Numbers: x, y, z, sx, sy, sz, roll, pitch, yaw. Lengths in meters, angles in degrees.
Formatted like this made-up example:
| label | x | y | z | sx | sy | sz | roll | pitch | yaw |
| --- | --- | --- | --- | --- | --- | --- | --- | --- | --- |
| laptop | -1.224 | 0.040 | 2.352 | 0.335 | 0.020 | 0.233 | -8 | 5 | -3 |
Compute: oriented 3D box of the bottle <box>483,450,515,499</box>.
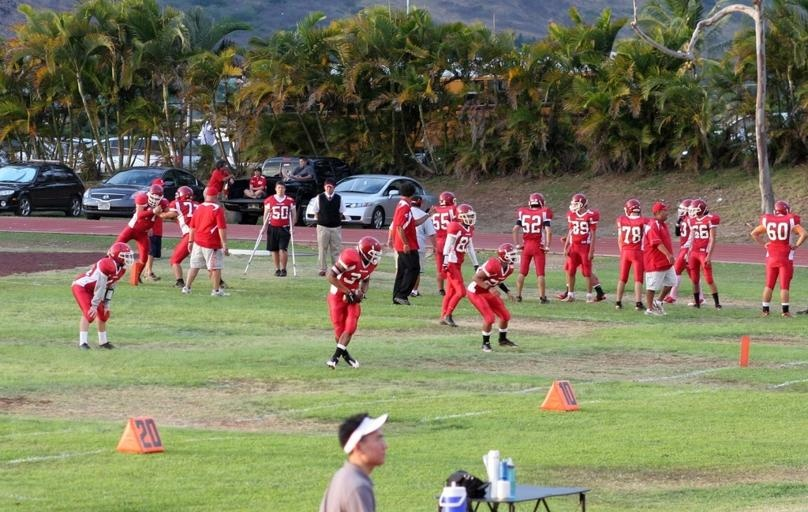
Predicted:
| label | x | y | z | sx | sy | sz | roll | pitch | yaw |
| --- | --- | --- | --- | --- | --- | --- | --- | --- | --- |
| bottle | 1.768 | 3.954 | 27.563 | 0.548 | 0.856 | 0.321 | -1 | 0 | 3 |

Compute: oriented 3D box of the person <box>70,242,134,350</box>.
| label | x | y | z | sx | sy | sz | roll | pitch | yaw |
| --- | --- | --- | --- | --- | --- | --- | --- | --- | --- |
| person | -6.778 | 0.942 | 34.765 | 1.748 | 2.232 | 0.904 | -2 | -9 | 2 |

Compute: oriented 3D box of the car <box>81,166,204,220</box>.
| label | x | y | z | sx | sy | sz | roll | pitch | yaw |
| --- | --- | --- | --- | --- | --- | --- | --- | --- | --- |
| car | -9.756 | -2.298 | 55.576 | 2.673 | 1.743 | 5.584 | 1 | 3 | 16 |

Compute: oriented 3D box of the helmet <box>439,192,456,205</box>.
| label | x | y | z | sx | sy | sz | roll | pitch | yaw |
| --- | --- | --- | --- | --- | --- | --- | --- | --- | --- |
| helmet | 1.280 | -1.501 | 40.172 | 0.481 | 0.351 | 0.364 | -4 | 8 | -21 |

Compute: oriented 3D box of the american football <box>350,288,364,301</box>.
| label | x | y | z | sx | sy | sz | roll | pitch | yaw |
| --- | --- | --- | --- | --- | --- | --- | --- | --- | --- |
| american football | -1.019 | 0.873 | 33.751 | 0.217 | 0.226 | 0.250 | 9 | 12 | 15 |

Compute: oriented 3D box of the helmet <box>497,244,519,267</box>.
| label | x | y | z | sx | sy | sz | roll | pitch | yaw |
| --- | --- | --- | --- | --- | --- | --- | --- | --- | --- |
| helmet | 2.467 | -0.051 | 35.460 | 0.589 | 0.367 | 0.400 | 6 | 12 | 3 |

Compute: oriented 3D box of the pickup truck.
| label | x | y | z | sx | sy | sz | roll | pitch | yaw |
| --- | --- | --- | --- | --- | --- | --- | --- | --- | --- |
| pickup truck | -4.040 | -2.492 | 55.493 | 2.317 | 1.401 | 4.413 | 4 | 10 | 24 |

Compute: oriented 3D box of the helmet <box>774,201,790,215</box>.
| label | x | y | z | sx | sy | sz | roll | pitch | yaw |
| --- | --- | --- | --- | --- | --- | --- | --- | --- | --- |
| helmet | 9.907 | -1.255 | 40.086 | 0.458 | 0.320 | 0.344 | -20 | 20 | -41 |

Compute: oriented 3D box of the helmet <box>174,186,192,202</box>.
| label | x | y | z | sx | sy | sz | roll | pitch | yaw |
| --- | --- | --- | --- | --- | --- | --- | --- | --- | --- |
| helmet | -5.971 | -1.668 | 41.559 | 0.607 | 0.396 | 0.430 | 8 | 3 | 13 |

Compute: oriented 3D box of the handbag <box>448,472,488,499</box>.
| label | x | y | z | sx | sy | sz | roll | pitch | yaw |
| --- | --- | --- | --- | --- | --- | --- | --- | --- | --- |
| handbag | 1.227 | 4.120 | 27.421 | 0.690 | 0.216 | 0.509 | 18 | 3 | 16 |

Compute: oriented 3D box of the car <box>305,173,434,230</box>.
| label | x | y | z | sx | sy | sz | roll | pitch | yaw |
| --- | --- | --- | --- | --- | --- | --- | --- | --- | --- |
| car | -0.987 | -2.035 | 55.684 | 2.806 | 1.551 | 5.503 | 10 | 8 | 29 |

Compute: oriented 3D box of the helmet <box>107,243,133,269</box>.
| label | x | y | z | sx | sy | sz | roll | pitch | yaw |
| --- | --- | --- | --- | --- | --- | --- | --- | --- | --- |
| helmet | -6.406 | -0.038 | 35.036 | 0.732 | 0.491 | 0.477 | 0 | 10 | -11 |

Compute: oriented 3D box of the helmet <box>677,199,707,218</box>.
| label | x | y | z | sx | sy | sz | roll | pitch | yaw |
| --- | --- | --- | --- | --- | --- | --- | --- | --- | --- |
| helmet | 7.831 | -1.261 | 41.033 | 0.727 | 0.423 | 0.516 | -2 | -3 | -7 |

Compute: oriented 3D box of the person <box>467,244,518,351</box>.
| label | x | y | z | sx | sy | sz | roll | pitch | yaw |
| --- | --- | --- | --- | --- | --- | --- | --- | --- | --- |
| person | 2.131 | 1.012 | 35.785 | 1.257 | 2.362 | 1.365 | 0 | 0 | 0 |

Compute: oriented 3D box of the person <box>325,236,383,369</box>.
| label | x | y | z | sx | sy | sz | roll | pitch | yaw |
| --- | --- | --- | --- | --- | --- | --- | --- | --- | --- |
| person | -1.110 | 1.056 | 34.026 | 1.113 | 2.910 | 0.966 | -1 | 0 | -3 |
